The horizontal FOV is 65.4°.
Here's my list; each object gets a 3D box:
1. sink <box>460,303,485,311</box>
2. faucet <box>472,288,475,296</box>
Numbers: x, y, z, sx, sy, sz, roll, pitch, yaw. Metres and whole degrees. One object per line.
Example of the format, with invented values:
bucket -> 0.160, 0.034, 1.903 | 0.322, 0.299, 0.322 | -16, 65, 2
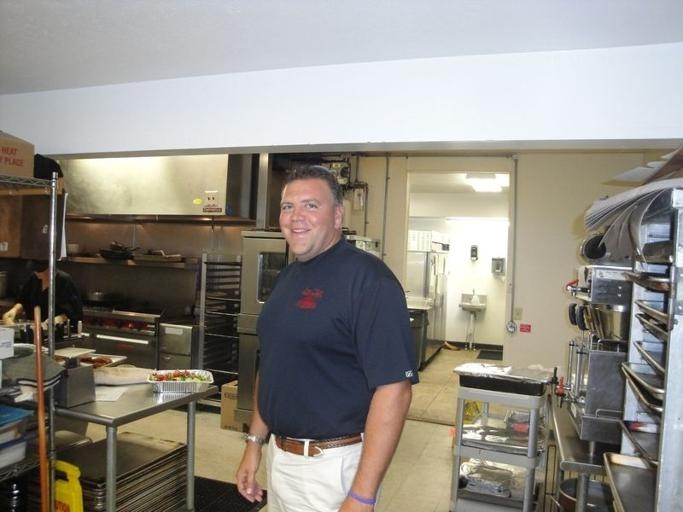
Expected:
sink -> 2.410, 0.932, 9.790 | 0.466, 0.160, 0.368 | 1, -4, 15
faucet -> 2.472, 0.656, 9.928 | 0.062, 0.138, 0.243 | 1, -3, 13
